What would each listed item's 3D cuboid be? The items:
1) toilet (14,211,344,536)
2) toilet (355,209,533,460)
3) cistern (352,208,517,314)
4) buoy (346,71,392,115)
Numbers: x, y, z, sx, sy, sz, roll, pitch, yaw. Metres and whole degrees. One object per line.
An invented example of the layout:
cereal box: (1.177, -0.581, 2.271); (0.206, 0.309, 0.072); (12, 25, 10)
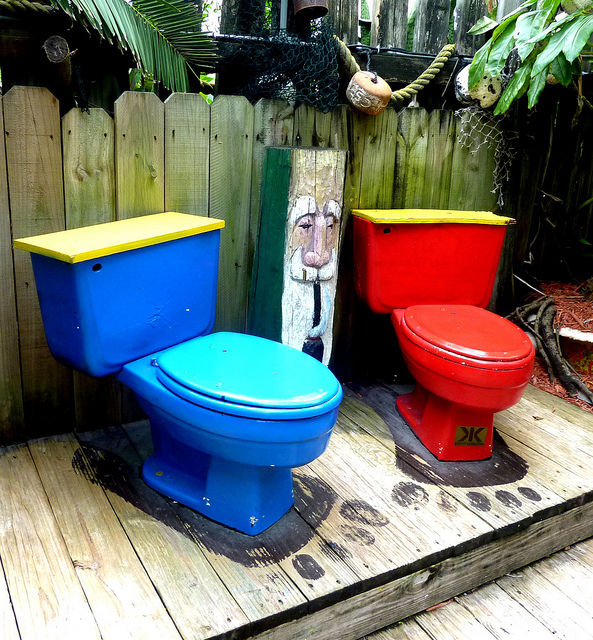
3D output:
toilet: (-0.174, 0.085, 2.030); (1.113, 0.954, 0.812); (18, 29, 26)
toilet: (0.574, -0.013, 2.217); (0.703, 1.018, 0.723); (-2, 23, -10)
cistern: (0.496, -0.290, 2.593); (0.660, 0.467, 0.530); (-4, 23, -20)
buoy: (0.291, -0.900, 2.309); (0.181, 0.119, 0.173); (-10, 57, -30)
